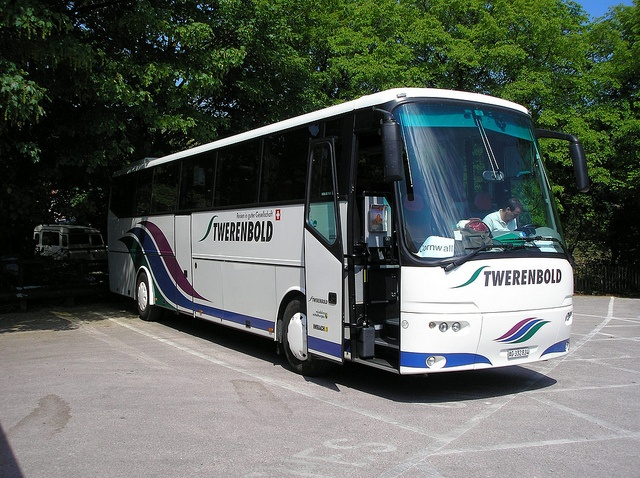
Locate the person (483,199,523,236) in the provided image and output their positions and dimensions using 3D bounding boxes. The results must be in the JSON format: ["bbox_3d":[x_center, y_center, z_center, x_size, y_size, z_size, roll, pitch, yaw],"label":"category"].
[{"bbox_3d":[2.773,-0.331,7.719,0.827,0.578,0.270,-1,1,-45],"label":"person"}]

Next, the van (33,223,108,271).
[{"bbox_3d":[-13.706,0.491,28.239,3.792,2.326,2.308,4,4,37],"label":"van"}]
